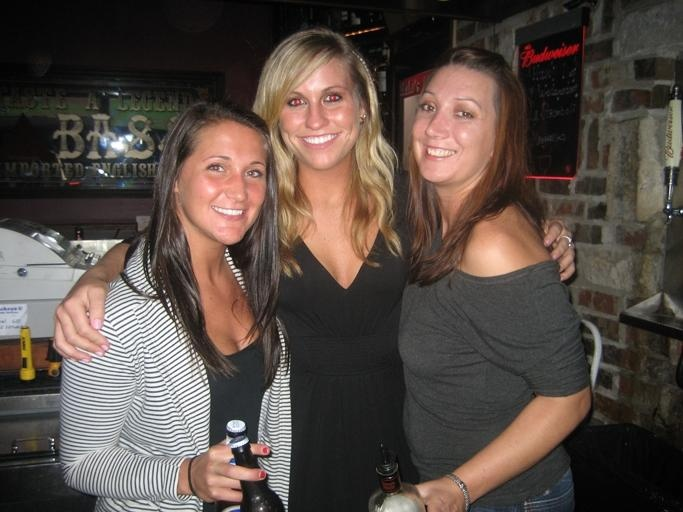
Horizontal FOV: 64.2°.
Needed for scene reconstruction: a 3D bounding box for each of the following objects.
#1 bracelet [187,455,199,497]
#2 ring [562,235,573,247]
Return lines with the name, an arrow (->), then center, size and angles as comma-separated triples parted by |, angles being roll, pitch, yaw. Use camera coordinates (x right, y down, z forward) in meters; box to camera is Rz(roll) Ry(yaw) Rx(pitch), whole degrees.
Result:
bracelet -> -0.485, 0.720, 1.780 | 0.032, 0.106, 0.087 | 0, 7, -15
ring -> 0.867, -0.064, 2.084 | 0.020, 0.041, 0.048 | -22, 35, 1
